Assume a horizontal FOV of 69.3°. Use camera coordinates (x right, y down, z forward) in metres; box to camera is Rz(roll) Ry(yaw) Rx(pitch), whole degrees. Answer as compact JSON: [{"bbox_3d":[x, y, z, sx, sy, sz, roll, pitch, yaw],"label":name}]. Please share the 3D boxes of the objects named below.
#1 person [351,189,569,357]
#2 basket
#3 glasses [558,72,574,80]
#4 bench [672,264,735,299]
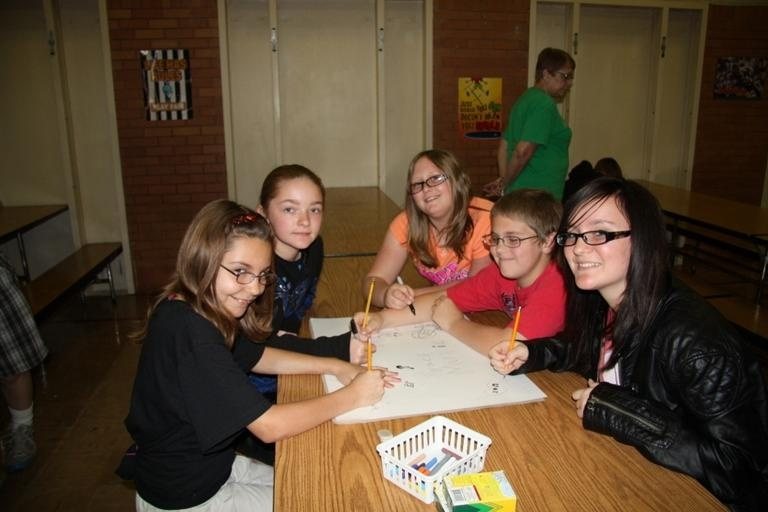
[{"bbox_3d":[0.429,0.090,2.629,1.051,0.740,0.661,0,6,-11],"label":"person"},{"bbox_3d":[0.176,0.703,1.954,0.336,0.114,0.255,-13,23,-36],"label":"basket"},{"bbox_3d":[1.532,-1.519,4.678,0.180,0.063,0.049,-17,24,-40],"label":"glasses"},{"bbox_3d":[2.705,0.209,4.657,0.217,0.075,0.305,-1,30,1],"label":"bench"}]
